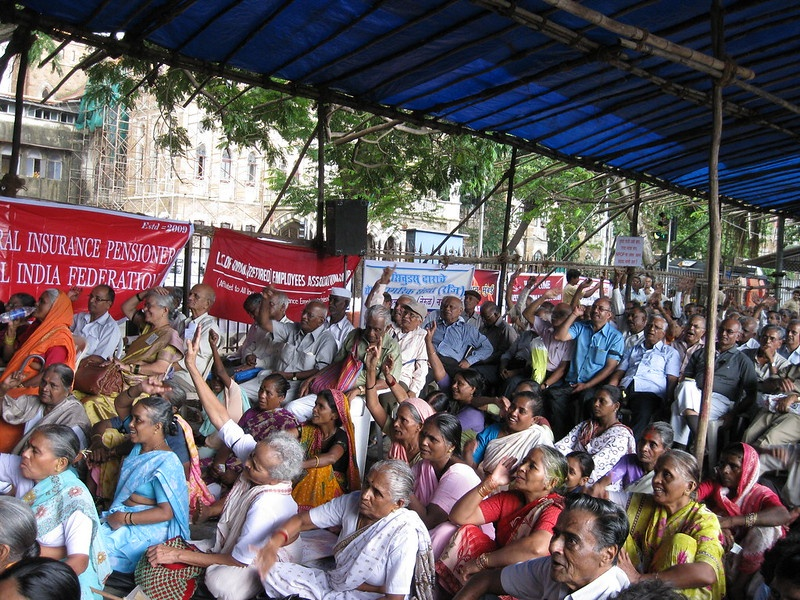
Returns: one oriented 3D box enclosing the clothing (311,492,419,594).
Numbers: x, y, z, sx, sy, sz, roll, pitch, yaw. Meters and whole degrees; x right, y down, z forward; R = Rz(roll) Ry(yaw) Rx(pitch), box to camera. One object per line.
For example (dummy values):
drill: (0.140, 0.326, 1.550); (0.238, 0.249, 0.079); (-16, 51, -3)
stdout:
clothing: (-0.224, 1.716, 4.992); (0.340, 0.447, 0.584); (31, -4, -35)

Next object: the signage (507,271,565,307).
signage: (2.393, -0.215, 12.579); (0.681, 0.475, 0.096); (-4, 17, -30)

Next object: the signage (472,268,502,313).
signage: (1.401, -0.185, 11.638); (0.757, 0.789, 0.079); (2, -3, -43)

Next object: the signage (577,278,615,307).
signage: (2.952, -0.141, 10.837); (0.283, 0.355, 1.042); (21, 10, 40)

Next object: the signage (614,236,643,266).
signage: (3.394, -0.758, 10.683); (0.062, 0.471, 0.432); (-5, 6, -40)
